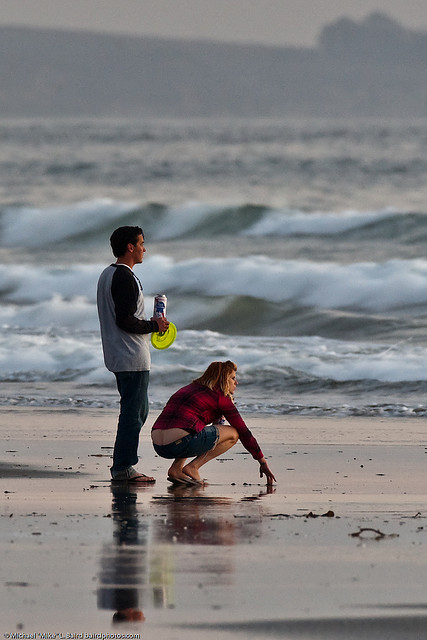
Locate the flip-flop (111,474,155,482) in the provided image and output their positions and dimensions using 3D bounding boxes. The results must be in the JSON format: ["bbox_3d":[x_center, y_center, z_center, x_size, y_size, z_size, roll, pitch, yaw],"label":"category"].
[{"bbox_3d":[-0.456,0.877,6.206,0.225,0.034,0.073,-1,-3,7],"label":"flip-flop"}]

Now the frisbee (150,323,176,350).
[{"bbox_3d":[-0.292,0.092,6.488,0.158,0.141,0.032,-27,-35,32],"label":"frisbee"}]
